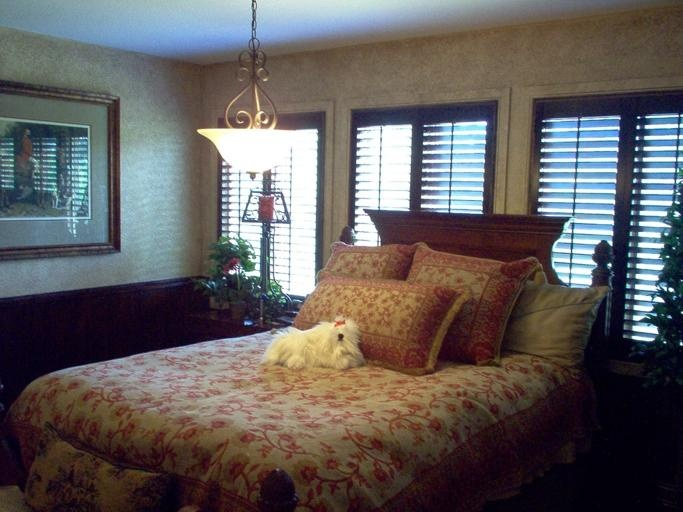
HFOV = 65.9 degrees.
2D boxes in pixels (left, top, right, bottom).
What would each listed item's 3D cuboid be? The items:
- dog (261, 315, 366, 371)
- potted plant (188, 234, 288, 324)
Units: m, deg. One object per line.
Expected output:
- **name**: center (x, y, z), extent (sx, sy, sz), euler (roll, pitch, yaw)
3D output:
- **dog**: center (-0.153, 0.438, 2.829), extent (0.399, 0.204, 0.284), euler (-1, 3, -11)
- **potted plant**: center (-0.857, 0.185, 4.469), extent (0.957, 0.814, 0.508), euler (7, 4, 32)
